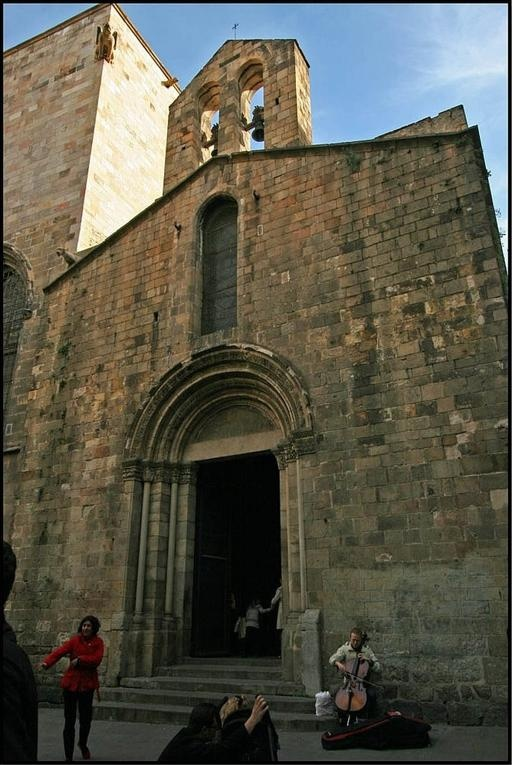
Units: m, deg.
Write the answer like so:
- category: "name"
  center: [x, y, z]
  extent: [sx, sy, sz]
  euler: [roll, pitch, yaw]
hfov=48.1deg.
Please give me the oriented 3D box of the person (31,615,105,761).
- category: "person"
  center: [-1.797, 2.930, 5.704]
  extent: [0.497, 1.549, 0.626]
  euler: [1, -7, -6]
